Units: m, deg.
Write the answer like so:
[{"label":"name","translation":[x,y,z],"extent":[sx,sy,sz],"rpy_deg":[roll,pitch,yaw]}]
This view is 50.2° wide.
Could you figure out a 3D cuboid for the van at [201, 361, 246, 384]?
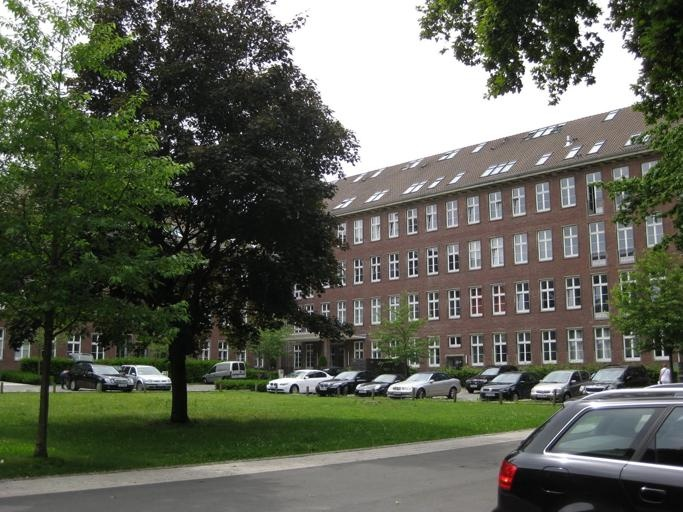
[{"label":"van","translation":[-9.288,9.162,57.585],"extent":[2.925,1.314,1.686],"rpy_deg":[-1,-5,35]}]

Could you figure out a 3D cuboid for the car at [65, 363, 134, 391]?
[{"label":"car","translation":[-14.609,7.322,43.755],"extent":[4.348,1.326,1.840],"rpy_deg":[-9,-13,39]}]
